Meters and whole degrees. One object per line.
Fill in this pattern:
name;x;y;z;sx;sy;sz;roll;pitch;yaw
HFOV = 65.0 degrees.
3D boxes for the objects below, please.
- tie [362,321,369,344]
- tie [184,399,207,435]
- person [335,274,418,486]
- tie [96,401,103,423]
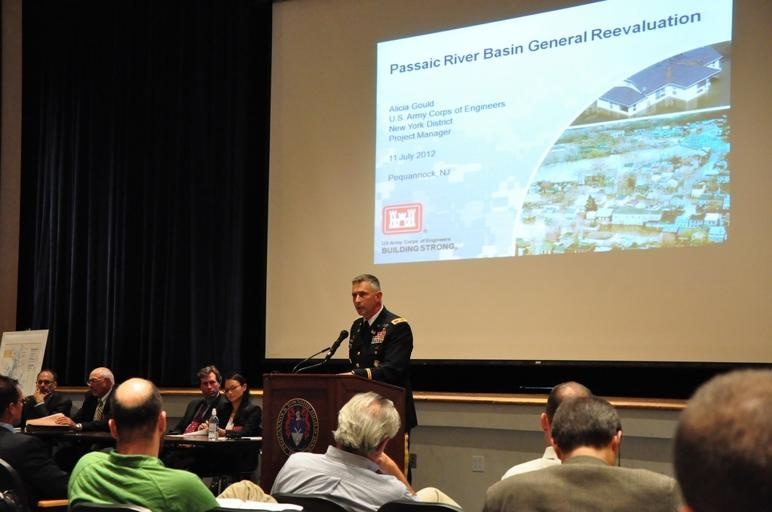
tie;-0.154;0.571;4.533;0.040;0.138;0.098;9;-27;-31
tie;-1.821;1.539;5.823;0.230;0.328;0.113;2;3;-29
person;-0.018;0.883;4.380;0.517;1.506;0.870;3;-8;-2
tie;-2.845;1.553;6.012;0.044;0.151;0.110;17;-30;-30
